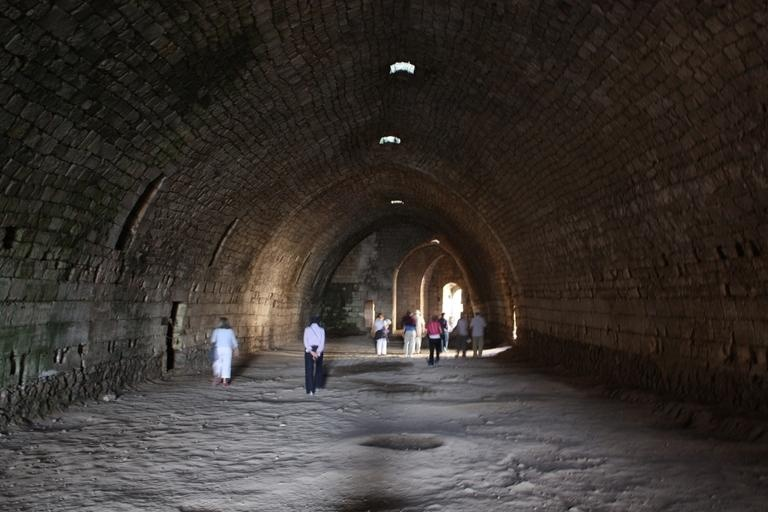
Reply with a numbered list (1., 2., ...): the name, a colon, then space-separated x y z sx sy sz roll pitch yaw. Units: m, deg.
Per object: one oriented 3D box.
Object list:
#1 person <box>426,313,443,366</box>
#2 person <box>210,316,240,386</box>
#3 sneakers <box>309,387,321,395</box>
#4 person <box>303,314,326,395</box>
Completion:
1. person: 1.622 2.714 14.005 0.432 1.551 1.140 -1 -7 5
2. person: -4.065 2.336 10.930 0.553 1.521 2.338 2 -7 -21
3. sneakers: -1.458 2.874 9.108 0.093 0.120 0.286 1 1 27
4. person: -1.512 2.108 9.319 0.390 1.604 0.763 0 -7 -10
